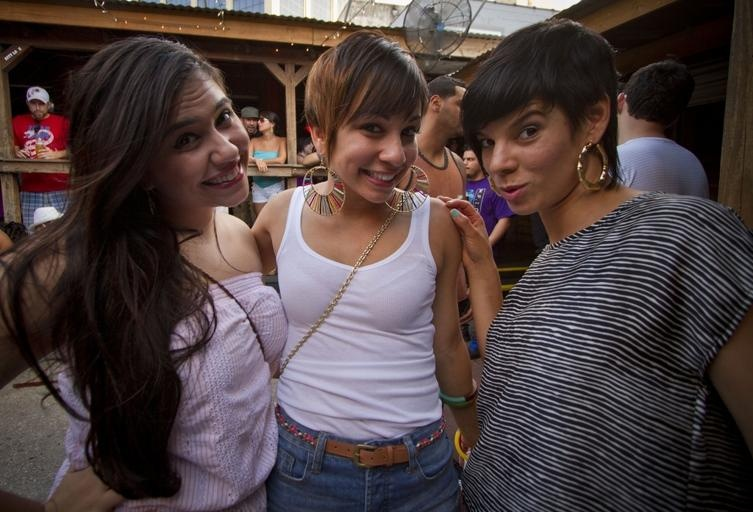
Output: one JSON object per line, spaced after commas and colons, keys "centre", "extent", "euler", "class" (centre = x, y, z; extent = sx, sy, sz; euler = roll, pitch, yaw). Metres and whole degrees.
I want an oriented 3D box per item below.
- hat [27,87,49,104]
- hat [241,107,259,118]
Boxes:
{"centre": [-4.037, -1.884, 6.364], "extent": [0.168, 0.150, 0.249], "euler": [-5, 4, -9], "class": "hat"}
{"centre": [-1.782, -1.969, 7.477], "extent": [0.183, 0.098, 0.258], "euler": [-3, 15, -17], "class": "hat"}
